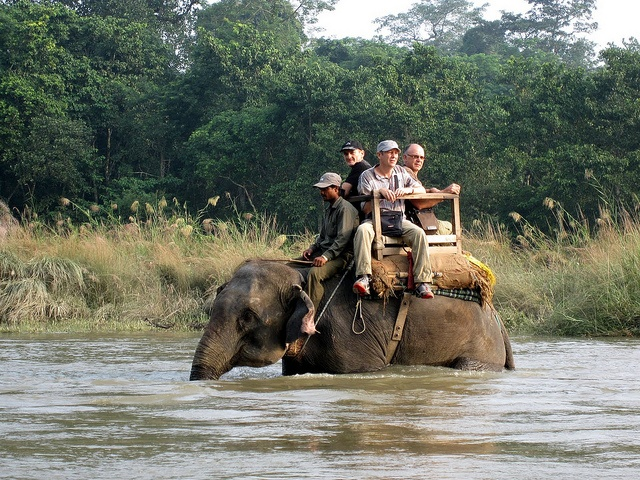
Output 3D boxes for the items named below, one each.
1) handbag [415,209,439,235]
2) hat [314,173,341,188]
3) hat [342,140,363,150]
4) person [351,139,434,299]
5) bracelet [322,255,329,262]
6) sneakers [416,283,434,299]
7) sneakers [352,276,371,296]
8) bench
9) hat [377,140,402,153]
[{"bbox_3d":[1.508,-0.275,15.322,0.272,0.373,0.131,-2,-26,-23],"label":"handbag"},{"bbox_3d":[0.116,-0.845,15.225,0.305,0.173,0.210,4,-3,-12],"label":"hat"},{"bbox_3d":[0.472,-1.424,15.944,0.228,0.124,0.162,15,-12,-42],"label":"hat"},{"bbox_3d":[0.971,-0.341,15.159,1.062,2.250,1.195,1,-5,-3],"label":"person"},{"bbox_3d":[0.062,0.240,15.045,0.078,0.028,0.080,44,-9,20],"label":"bracelet"},{"bbox_3d":[1.411,0.688,14.877,0.115,0.161,0.351,2,-4,-20],"label":"sneakers"},{"bbox_3d":[0.556,0.609,14.789,0.121,0.176,0.351,0,-21,8],"label":"sneakers"},{"bbox_3d":[1.258,-0.079,15.547,1.104,0.885,1.074,0,-5,-19],"label":"bench"},{"bbox_3d":[0.978,-1.332,15.313,0.252,0.134,0.184,8,-8,-40],"label":"hat"}]
